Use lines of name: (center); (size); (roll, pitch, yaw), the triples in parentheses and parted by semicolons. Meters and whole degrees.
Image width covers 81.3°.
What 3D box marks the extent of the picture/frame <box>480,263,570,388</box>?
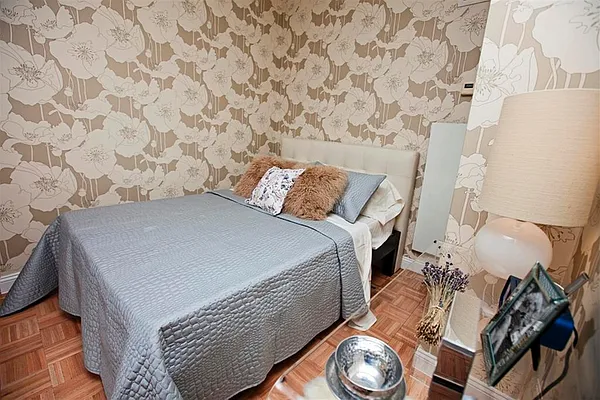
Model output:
picture/frame: (1.006, 0.578, 1.607); (0.275, 0.532, 0.239); (0, 17, -12)
